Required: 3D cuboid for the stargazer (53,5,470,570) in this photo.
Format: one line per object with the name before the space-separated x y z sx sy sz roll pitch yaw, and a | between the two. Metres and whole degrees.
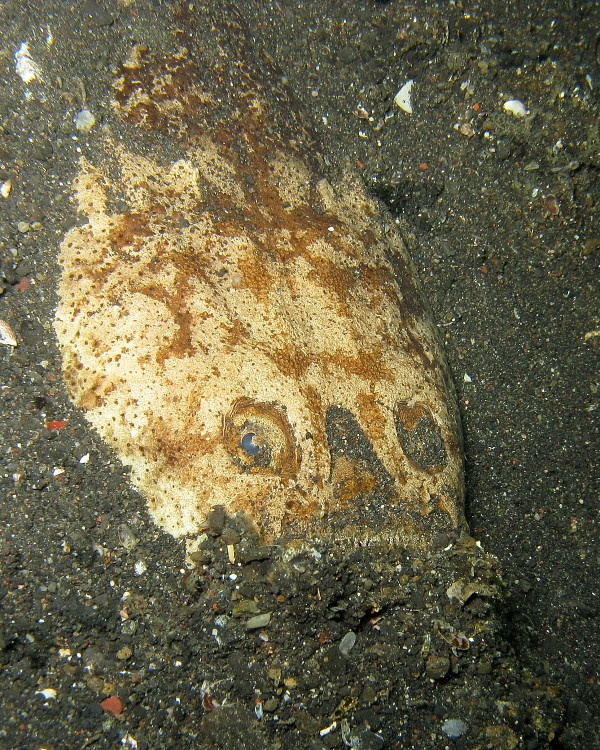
stargazer | -0.258 -0.239 3.980 1.489 0.792 2.342 -24 68 -12
